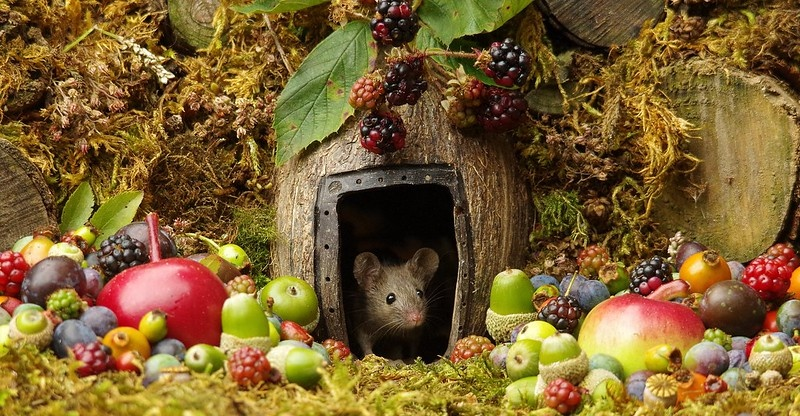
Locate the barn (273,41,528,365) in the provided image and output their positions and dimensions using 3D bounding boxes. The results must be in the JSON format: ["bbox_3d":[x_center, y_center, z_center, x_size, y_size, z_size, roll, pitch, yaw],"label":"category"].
[{"bbox_3d":[0.044,-0.154,7.625,2.147,2.633,1.731,-2,7,1],"label":"barn"}]
